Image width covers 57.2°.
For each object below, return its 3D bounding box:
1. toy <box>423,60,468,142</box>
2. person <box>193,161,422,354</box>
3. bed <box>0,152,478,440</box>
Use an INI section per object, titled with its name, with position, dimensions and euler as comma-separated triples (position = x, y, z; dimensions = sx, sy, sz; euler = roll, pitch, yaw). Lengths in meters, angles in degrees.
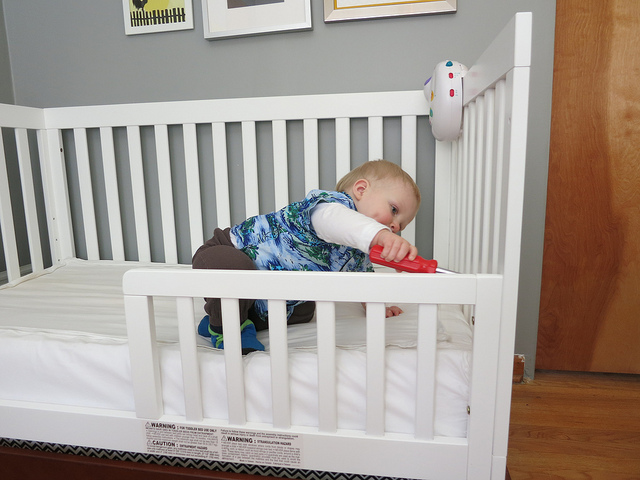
[toy]
position = 0.394, -0.470, 1.916
dimensions = 0.190, 0.314, 0.235
euler = 3, 17, 11
[person]
position = -0.046, 0.056, 1.736
dimensions = 0.681, 0.620, 0.518
euler = 1, 2, 12
[bed]
position = -0.243, 0.166, 1.792
dimensions = 1.290, 0.723, 0.716
euler = 3, 15, 8
